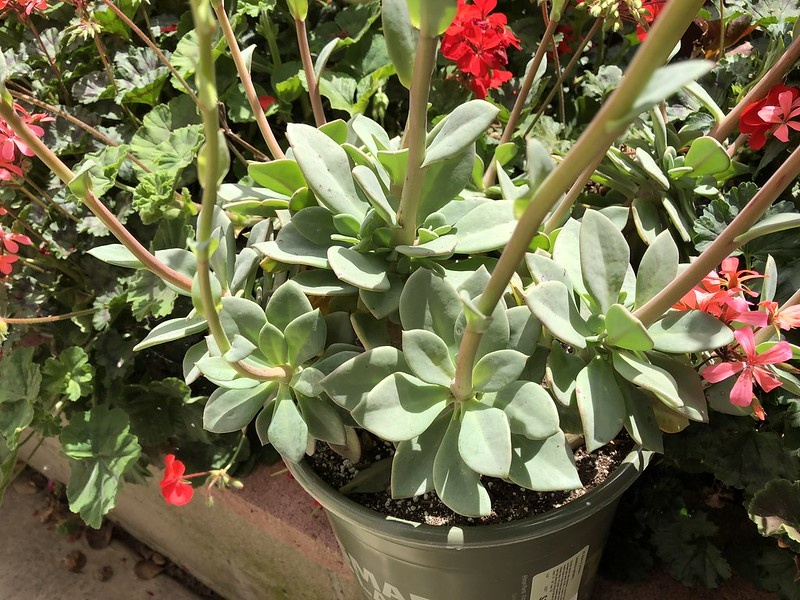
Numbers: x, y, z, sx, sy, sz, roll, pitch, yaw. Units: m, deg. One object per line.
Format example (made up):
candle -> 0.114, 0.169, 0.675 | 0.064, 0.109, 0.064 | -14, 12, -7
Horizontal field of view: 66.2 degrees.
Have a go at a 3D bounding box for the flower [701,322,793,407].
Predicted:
flower -> 0.501, 0.078, 0.873 | 0.113, 0.124, 0.044 | -9, 13, 4

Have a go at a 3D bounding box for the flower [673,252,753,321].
flower -> 0.476, -0.005, 0.953 | 0.107, 0.049, 0.107 | -39, 30, -13
